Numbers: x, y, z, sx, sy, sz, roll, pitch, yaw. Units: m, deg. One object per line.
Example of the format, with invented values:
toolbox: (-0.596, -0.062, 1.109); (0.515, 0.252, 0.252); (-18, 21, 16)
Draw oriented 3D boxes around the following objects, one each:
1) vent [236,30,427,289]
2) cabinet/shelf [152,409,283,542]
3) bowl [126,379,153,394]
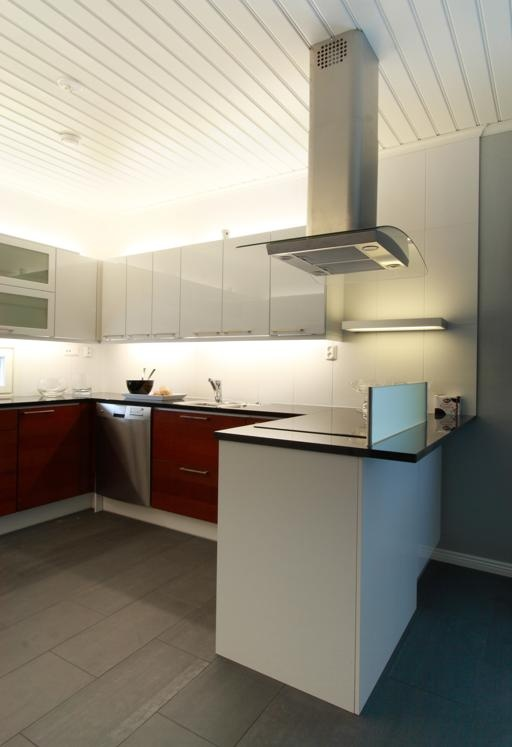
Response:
vent: (0.303, -0.896, 2.656); (0.694, 1.080, 0.886); (0, -3, 28)
cabinet/shelf: (-0.229, 0.537, 3.486); (0.787, 0.840, 0.595); (-1, -4, 39)
bowl: (-0.834, 0.099, 3.818); (0.118, 0.078, 0.123); (-3, -4, 0)
